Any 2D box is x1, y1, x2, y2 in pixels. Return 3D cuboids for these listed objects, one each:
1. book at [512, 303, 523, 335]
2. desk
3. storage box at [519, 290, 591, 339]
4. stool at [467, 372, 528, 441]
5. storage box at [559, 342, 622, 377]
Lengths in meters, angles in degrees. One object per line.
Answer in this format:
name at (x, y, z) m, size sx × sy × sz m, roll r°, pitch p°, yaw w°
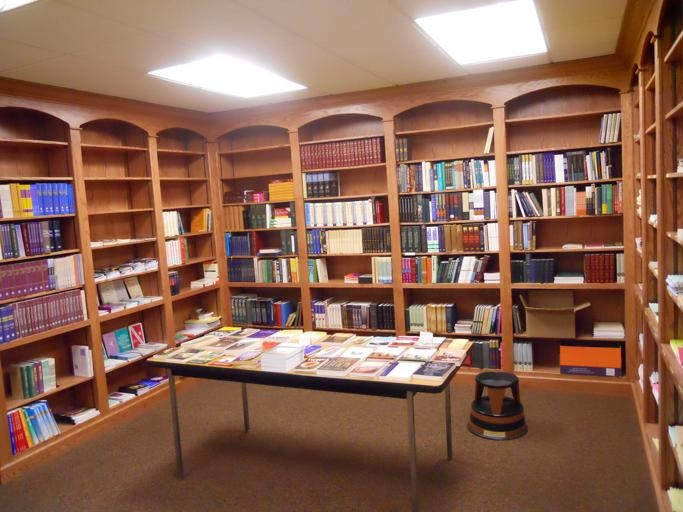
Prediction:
book at (1.956, 0.693, 5.683) m, size 0.074 × 0.262 × 0.278 m, roll -9°, pitch 5°, yaw 14°
desk at (-0.223, 1.226, 4.313) m, size 2.417 × 1.131 × 1.085 m, roll 1°, pitch 13°, yaw 20°
storage box at (2.270, 0.626, 5.486) m, size 0.692 × 0.392 × 0.622 m, roll 0°, pitch 1°, yaw 26°
stool at (1.405, 1.369, 4.813) m, size 0.656 × 0.466 × 0.575 m, roll -3°, pitch 6°, yaw -4°
storage box at (2.656, 1.116, 5.428) m, size 0.671 × 0.290 × 0.350 m, roll 0°, pitch 1°, yaw 29°
